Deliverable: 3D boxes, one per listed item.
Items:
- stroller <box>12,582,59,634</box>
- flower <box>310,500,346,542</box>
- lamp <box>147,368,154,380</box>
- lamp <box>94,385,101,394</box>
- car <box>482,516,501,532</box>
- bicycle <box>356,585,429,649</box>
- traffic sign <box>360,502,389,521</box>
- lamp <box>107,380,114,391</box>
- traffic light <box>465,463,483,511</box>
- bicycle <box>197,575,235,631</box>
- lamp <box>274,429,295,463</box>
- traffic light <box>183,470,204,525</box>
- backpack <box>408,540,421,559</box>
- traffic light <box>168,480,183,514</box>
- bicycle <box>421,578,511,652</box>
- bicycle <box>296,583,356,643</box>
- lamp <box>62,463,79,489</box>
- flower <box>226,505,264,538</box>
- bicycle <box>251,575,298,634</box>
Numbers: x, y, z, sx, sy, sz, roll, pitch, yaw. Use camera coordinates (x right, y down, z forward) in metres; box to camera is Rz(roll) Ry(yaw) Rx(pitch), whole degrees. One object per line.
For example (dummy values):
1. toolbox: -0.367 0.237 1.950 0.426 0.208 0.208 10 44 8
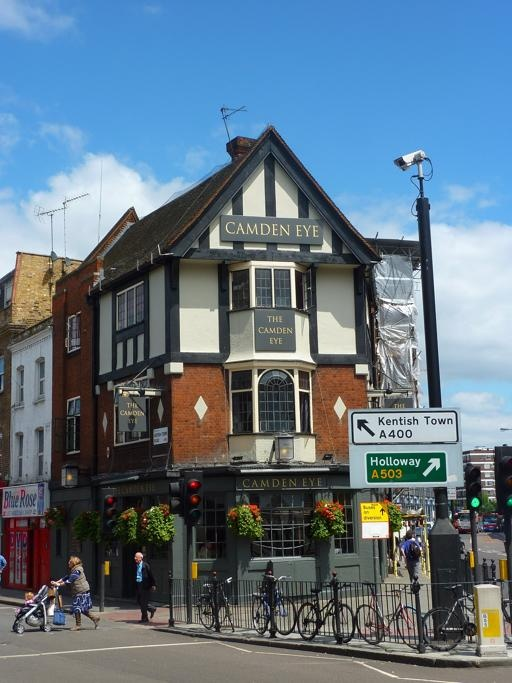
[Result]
1. stroller: -4.543 5.588 18.830 1.059 1.190 1.073 8 -20 -19
2. flower: 1.817 4.587 23.174 0.853 0.685 1.004 2 -8 -11
3. lamp: -2.944 0.924 25.354 0.124 0.306 0.256 6 -14 -34
4. lamp: -5.063 1.558 28.908 0.230 0.425 0.227 1 -7 -14
5. car: 22.516 17.264 86.453 1.637 1.678 3.021 -3 -22 9
6. bicycle: 2.096 4.514 14.843 1.098 0.862 1.098 -6 -12 17
7. traffic sign: 2.129 3.121 16.481 0.466 0.348 0.304 -2 -12 1
8. lamp: -4.483 1.374 27.901 0.088 0.256 0.269 9 -20 -30
9. traffic light: 4.193 2.826 17.611 0.306 0.921 1.092 -5 -12 13
10. bicycle: -0.786 5.221 18.120 0.550 0.996 1.246 1 -12 -16
11. lamp: 0.704 2.772 23.397 0.491 0.727 0.575 -2 -12 -3
12. traffic light: -1.326 3.274 18.775 0.331 1.062 0.285 -5 -12 14
13. backpack: 3.859 5.165 22.352 0.279 0.499 0.647 -3 -12 6
14. traffic light: -1.686 3.309 19.109 0.286 0.737 1.043 -1 -12 -6
15. bicycle: 3.299 4.320 14.385 1.273 0.968 1.770 -8 -13 26
16. bicycle: 1.189 4.669 15.756 0.659 1.001 1.749 3 -13 -25
17. lamp: -5.907 4.293 28.895 0.527 0.635 0.751 1 -12 -15
18. flower: -0.202 4.508 22.751 0.849 0.602 0.845 8 -12 31
19. bicycle: 0.322 4.933 16.869 0.590 1.012 1.392 1 -12 -17
